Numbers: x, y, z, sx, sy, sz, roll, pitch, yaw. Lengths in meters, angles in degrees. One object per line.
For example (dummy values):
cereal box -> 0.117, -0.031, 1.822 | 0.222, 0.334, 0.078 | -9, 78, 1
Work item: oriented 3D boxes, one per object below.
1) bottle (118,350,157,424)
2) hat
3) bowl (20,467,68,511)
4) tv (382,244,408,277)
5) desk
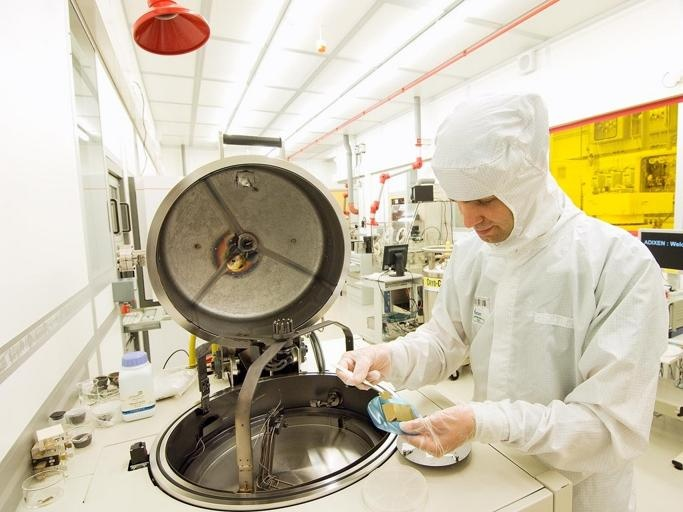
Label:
bottle -> -0.696, 0.424, 1.519 | 0.111, 0.212, 0.138 | -6, 5, -24
hat -> 0.485, -0.291, 1.660 | 0.440, 0.625, 0.418 | -31, 16, -2
bowl -> -0.828, 0.629, 1.240 | 0.085, 0.055, 0.088 | 2, 2, 0
tv -> 0.500, 0.044, 4.234 | 0.256, 0.276, 0.131 | -2, 11, -13
desk -> 0.472, 0.536, 4.469 | 0.592, 0.680, 0.646 | 0, 5, -3
